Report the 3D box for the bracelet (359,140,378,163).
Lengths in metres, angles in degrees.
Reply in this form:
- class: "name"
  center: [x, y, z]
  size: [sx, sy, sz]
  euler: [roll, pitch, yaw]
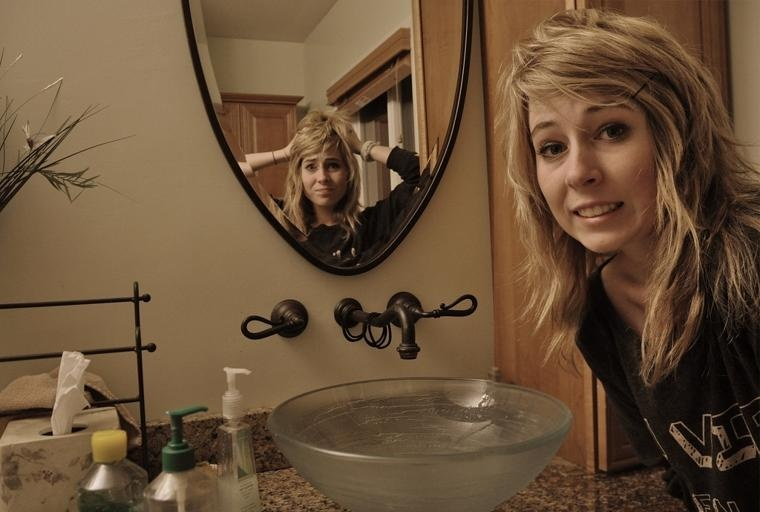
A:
- class: "bracelet"
  center: [-0.036, -0.291, 1.844]
  size: [0.031, 0.041, 0.054]
  euler: [13, 13, 5]
